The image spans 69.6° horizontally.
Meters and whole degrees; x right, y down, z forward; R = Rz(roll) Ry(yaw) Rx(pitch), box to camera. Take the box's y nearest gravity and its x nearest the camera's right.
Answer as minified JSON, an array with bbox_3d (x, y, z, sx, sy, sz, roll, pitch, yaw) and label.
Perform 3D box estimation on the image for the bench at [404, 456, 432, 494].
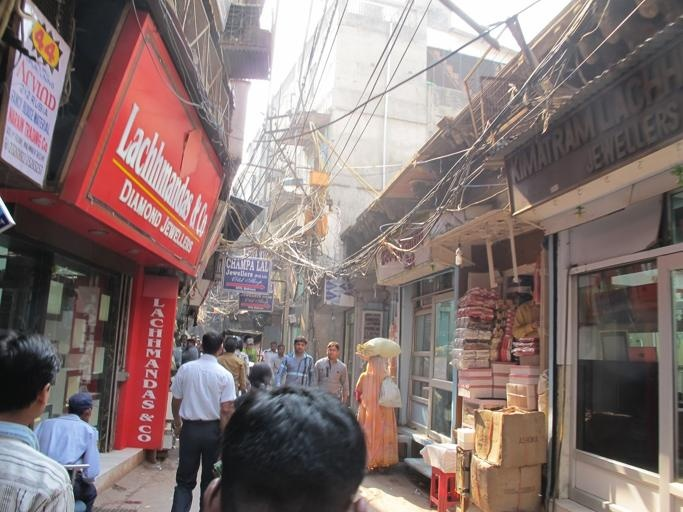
[{"bbox_3d":[1.206,3.425,7.832,0.324,0.330,1.460,-2,-10,-1],"label":"bench"}]
